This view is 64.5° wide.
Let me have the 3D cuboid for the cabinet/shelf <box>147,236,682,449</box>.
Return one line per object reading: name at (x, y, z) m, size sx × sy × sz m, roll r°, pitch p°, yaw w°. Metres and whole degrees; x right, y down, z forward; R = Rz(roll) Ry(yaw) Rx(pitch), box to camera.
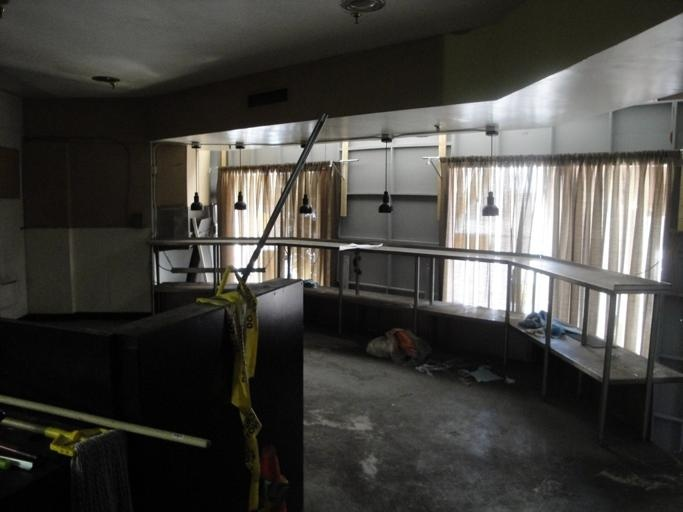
cabinet/shelf at (1.302, 0.504, 6.573) m, size 1.707 × 1.468 × 5.138 m, roll -13°, pitch 18°, yaw -41°
